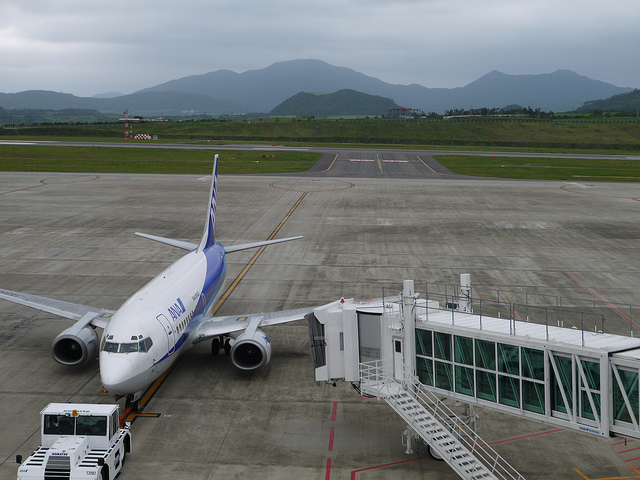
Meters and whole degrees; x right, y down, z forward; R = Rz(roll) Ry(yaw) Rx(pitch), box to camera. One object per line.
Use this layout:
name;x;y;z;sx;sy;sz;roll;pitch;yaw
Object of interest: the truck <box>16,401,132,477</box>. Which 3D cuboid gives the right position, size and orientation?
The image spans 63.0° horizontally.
truck;-9.447;7.693;20.201;3.006;1.592;3.943;0;0;2
